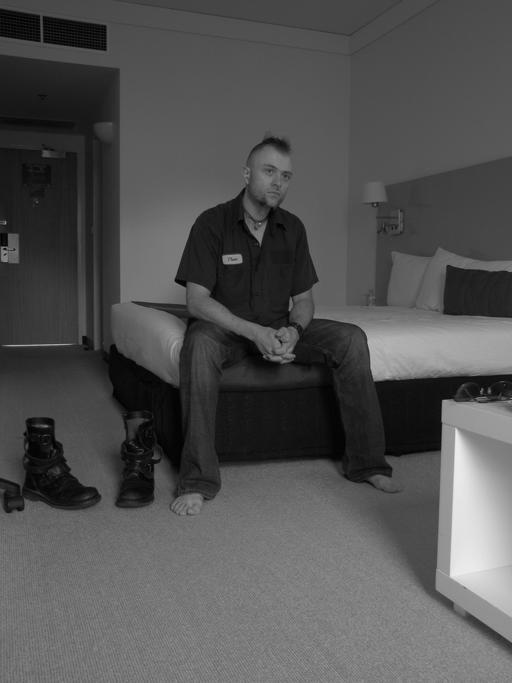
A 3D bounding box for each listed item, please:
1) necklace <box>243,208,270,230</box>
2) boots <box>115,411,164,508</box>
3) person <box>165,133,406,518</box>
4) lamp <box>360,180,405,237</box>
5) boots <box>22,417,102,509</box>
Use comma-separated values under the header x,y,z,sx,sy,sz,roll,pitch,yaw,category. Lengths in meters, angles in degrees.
x,y,z,sx,sy,sz,roll,pitch,yaw,category
0.003,-0.447,1.957,0.058,0.030,0.079,21,2,-17,necklace
-0.354,0.352,1.642,0.117,0.261,0.173,1,2,-11,boots
0.076,-0.115,1.814,0.743,1.214,0.801,0,3,22,person
0.998,-1.045,4.245,0.258,0.408,0.184,4,-1,-14,lamp
-0.572,0.366,1.587,0.258,0.214,0.099,9,10,20,boots
